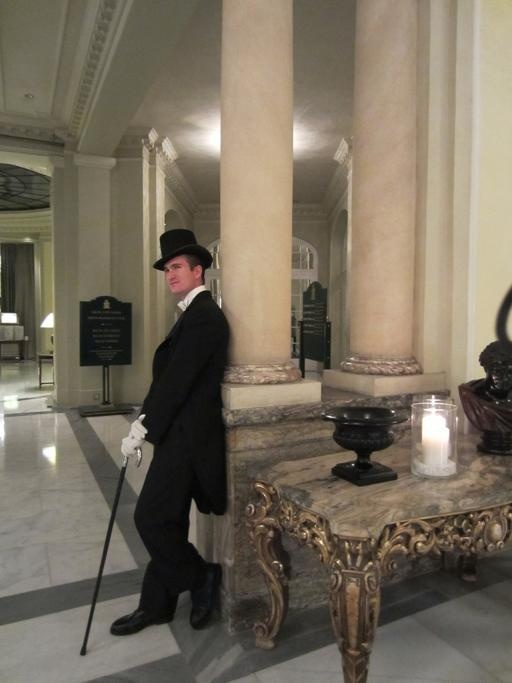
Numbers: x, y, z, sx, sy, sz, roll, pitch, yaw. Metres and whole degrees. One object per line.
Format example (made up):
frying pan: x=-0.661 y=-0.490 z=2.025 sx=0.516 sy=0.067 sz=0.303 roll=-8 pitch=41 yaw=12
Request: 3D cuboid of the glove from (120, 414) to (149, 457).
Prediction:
glove: x=-0.575 y=0.442 z=2.569 sx=0.060 sy=0.121 sz=0.212 roll=14 pitch=-41 yaw=-17

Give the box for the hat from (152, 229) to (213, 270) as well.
hat: x=-0.348 y=-0.465 z=2.835 sx=0.210 sy=0.129 sz=0.261 roll=-29 pitch=-13 yaw=28

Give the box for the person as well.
person: x=-0.365 y=0.385 z=2.618 sx=0.488 sy=1.797 sz=0.579 roll=2 pitch=8 yaw=-3

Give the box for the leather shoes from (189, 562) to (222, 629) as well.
leather shoes: x=-0.231 y=1.135 z=2.581 sx=0.112 sy=0.268 sz=0.100 roll=10 pitch=-9 yaw=-41

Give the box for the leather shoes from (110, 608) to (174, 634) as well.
leather shoes: x=-0.507 y=1.229 z=2.540 sx=0.261 sy=0.095 sz=0.085 roll=5 pitch=-8 yaw=-27
